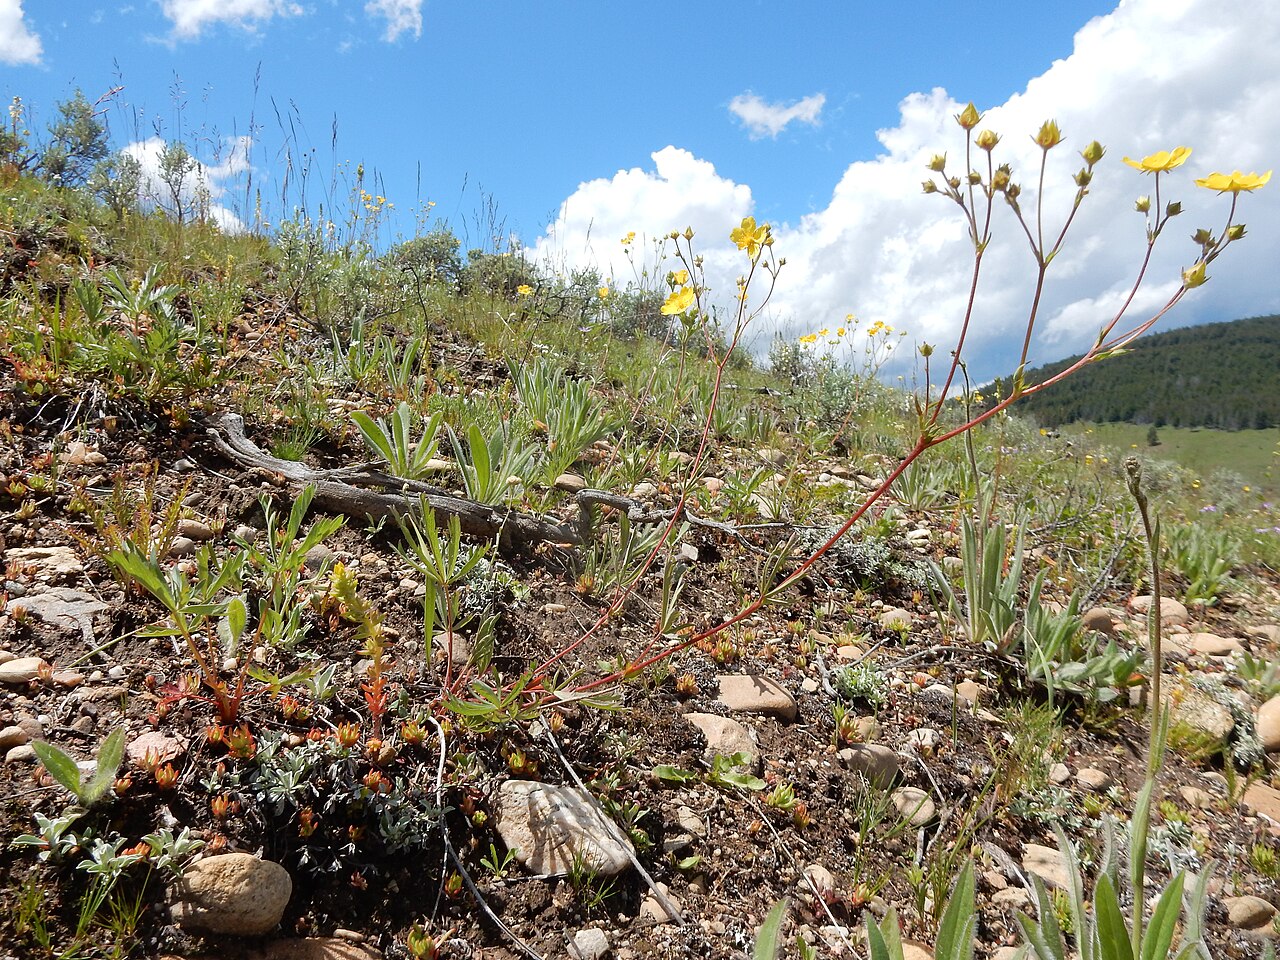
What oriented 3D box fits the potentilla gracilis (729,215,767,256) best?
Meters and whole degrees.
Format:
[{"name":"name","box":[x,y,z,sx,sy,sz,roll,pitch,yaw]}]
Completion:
[{"name":"potentilla gracilis","box":[0.371,-0.818,2.824,0.118,0.148,0.219,8,4,6]}]
